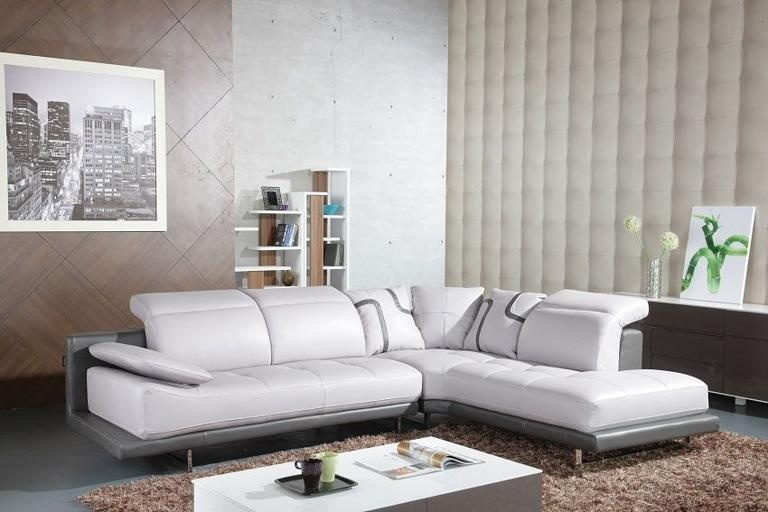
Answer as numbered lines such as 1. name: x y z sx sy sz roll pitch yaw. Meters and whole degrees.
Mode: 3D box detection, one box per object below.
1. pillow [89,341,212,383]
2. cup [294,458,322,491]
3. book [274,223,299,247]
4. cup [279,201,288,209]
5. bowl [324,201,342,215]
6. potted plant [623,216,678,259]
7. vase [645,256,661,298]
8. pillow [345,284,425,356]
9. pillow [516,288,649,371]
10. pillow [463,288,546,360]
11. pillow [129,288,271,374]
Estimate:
1. pillow: -1.489 0.650 3.484 0.553 0.123 0.322 17 -3 17
2. cup: -0.333 0.947 2.451 0.128 0.109 0.083 -3 -5 27
3. book: -1.137 -0.241 6.427 0.280 0.245 0.096 -1 -10 15
4. cup: -1.159 -0.586 6.465 0.102 0.088 0.097 -1 1 0
5. bowl: -0.611 -0.577 6.693 0.177 0.063 0.152 -7 -6 38
6. potted plant: 2.660 -0.211 5.575 0.503 0.397 0.346 3 6 27
7. vase: 2.607 0.209 5.416 0.116 0.362 0.271 3 6 22
8. pillow: -0.006 0.525 4.737 0.614 0.537 0.182 -5 -18 -39
9. pillow: 1.587 0.563 4.413 0.909 0.485 0.863 0 5 45
10. pillow: 1.033 0.549 4.632 0.189 0.538 0.589 29 -9 -34
11. pillow: -1.286 0.497 4.030 0.925 0.564 0.612 3 -16 -37
